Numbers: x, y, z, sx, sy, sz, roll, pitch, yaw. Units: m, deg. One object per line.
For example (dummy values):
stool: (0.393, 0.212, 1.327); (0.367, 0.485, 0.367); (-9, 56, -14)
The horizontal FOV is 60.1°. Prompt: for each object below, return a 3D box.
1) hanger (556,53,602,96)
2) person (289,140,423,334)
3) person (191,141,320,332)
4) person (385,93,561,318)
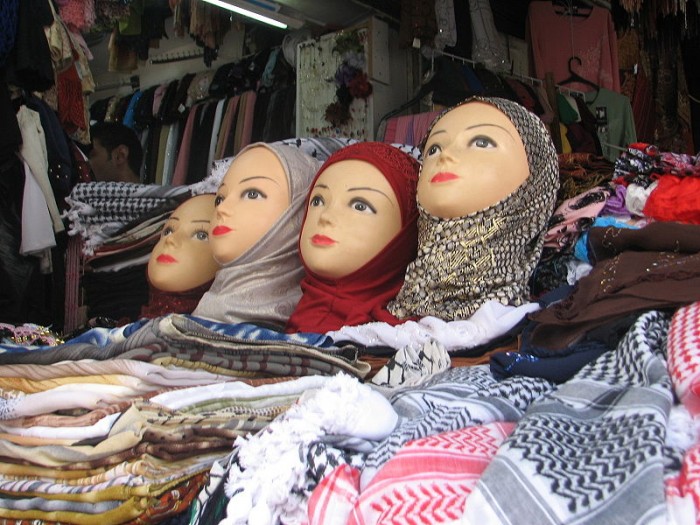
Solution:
hanger: (1.610, -1.332, 4.331); (0.388, 0.257, 0.008); (-4, 13, -1)
person: (0.033, -0.092, 2.372); (0.469, 0.789, 0.481); (15, -7, -40)
person: (-0.384, -0.123, 2.606); (0.480, 0.760, 0.575); (6, -7, -39)
person: (0.486, -0.189, 2.254); (0.505, 0.889, 0.495); (16, -16, -35)
